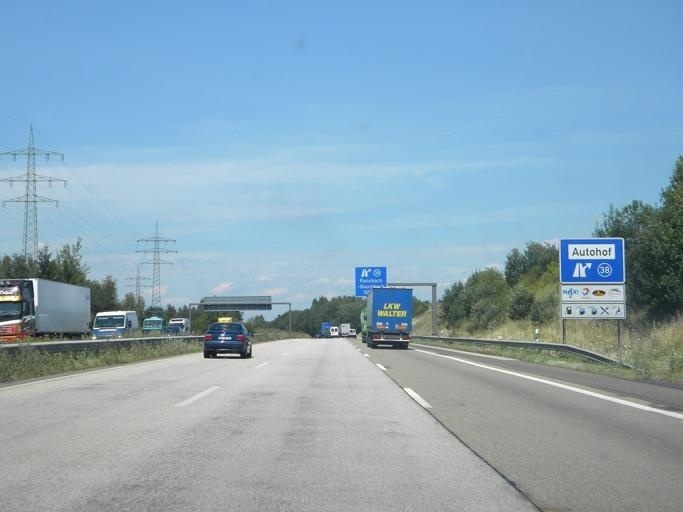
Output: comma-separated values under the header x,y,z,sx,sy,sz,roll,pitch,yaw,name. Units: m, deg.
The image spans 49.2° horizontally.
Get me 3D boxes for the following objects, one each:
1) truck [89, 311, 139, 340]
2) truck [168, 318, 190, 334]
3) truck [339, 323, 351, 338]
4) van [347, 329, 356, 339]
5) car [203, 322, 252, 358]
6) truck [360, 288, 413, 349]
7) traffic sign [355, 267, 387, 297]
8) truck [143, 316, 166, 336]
x,y,z,sx,sy,sz,roll,pitch,yaw,name
-14.063,4.076,45.782,1.921,2.079,3.715,-1,-11,-1,truck
-16.719,7.232,76.582,1.515,1.557,4.743,-1,-8,-3,truck
0.779,11.740,117.547,1.949,3.296,1.624,1,0,-12,truck
1.455,11.637,110.865,1.059,1.097,1.808,2,-2,-2,van
-4.365,3.254,28.729,1.708,1.382,1.558,-1,-3,-6,car
2.624,3.533,42.117,2.062,3.412,3.499,-1,-2,-7,truck
2.151,1.824,53.991,1.932,2.323,0.088,-1,2,-1,traffic sign
-16.115,6.096,64.194,1.304,1.792,4.315,-1,-8,-1,truck
